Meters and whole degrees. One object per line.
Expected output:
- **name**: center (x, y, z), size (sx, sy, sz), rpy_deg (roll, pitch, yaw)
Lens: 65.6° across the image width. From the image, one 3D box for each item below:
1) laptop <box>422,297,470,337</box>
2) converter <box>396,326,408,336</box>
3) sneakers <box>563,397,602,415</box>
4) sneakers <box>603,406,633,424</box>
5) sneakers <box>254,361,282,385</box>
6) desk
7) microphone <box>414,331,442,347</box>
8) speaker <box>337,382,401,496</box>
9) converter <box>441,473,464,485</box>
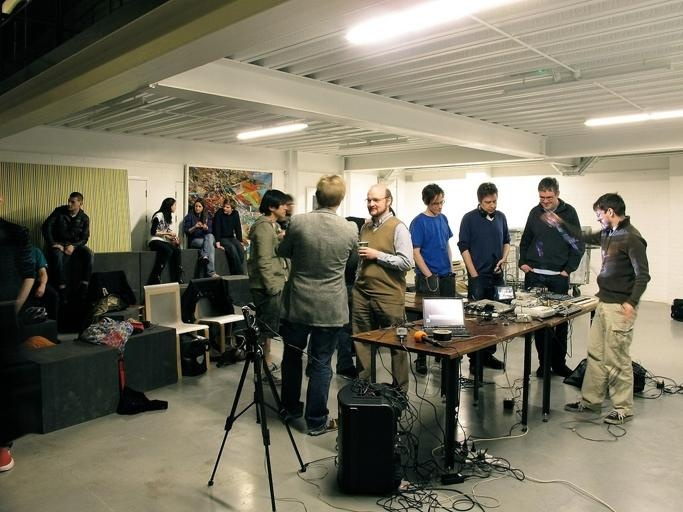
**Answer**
- **laptop**: center (0.886, 0.503, 4.592), size (0.372, 0.238, 0.294), rpy_deg (0, -3, 5)
- **converter**: center (0.495, 0.611, 4.306), size (0.108, 0.071, 0.058), rpy_deg (0, -8, 0)
- **sneakers**: center (2.363, 1.487, 5.203), size (0.355, 0.149, 0.142), rpy_deg (3, 0, 25)
- **sneakers**: center (2.598, 1.507, 4.978), size (0.324, 0.124, 0.116), rpy_deg (8, -13, -33)
- **sneakers**: center (-0.852, 1.346, 6.109), size (0.211, 0.252, 0.610), rpy_deg (0, -4, -12)
- **desk**: center (1.181, 0.955, 4.831), size (2.051, 1.230, 0.959), rpy_deg (-9, 13, -43)
- **microphone**: center (0.674, 0.644, 4.246), size (0.182, 0.074, 0.357), rpy_deg (0, 9, -2)
- **speaker**: center (0.190, 1.361, 3.941), size (0.471, 0.719, 0.340), rpy_deg (0, 10, -1)
- **converter**: center (0.821, 1.670, 3.963), size (0.105, 0.024, 0.095), rpy_deg (-1, 5, -2)
